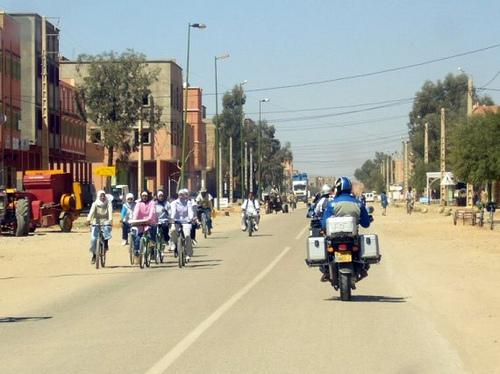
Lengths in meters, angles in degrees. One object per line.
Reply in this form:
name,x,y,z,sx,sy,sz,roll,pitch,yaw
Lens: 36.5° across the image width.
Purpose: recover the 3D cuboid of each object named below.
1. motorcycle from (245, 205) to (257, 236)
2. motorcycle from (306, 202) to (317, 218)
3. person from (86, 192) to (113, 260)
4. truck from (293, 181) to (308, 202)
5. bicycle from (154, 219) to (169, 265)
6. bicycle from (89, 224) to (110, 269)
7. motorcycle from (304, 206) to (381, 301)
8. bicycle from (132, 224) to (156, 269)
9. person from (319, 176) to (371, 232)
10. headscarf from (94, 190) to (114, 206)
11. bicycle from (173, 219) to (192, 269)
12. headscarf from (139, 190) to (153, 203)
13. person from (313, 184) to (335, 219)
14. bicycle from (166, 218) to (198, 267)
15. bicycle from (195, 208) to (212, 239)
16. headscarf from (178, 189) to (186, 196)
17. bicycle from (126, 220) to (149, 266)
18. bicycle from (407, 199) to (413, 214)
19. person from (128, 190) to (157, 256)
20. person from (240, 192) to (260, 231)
motorcycle,0.047,1.453,32.400,0.481,1.304,1.436,0,-1,-2
motorcycle,1.684,0.705,20.753,0.346,0.375,0.580,2,9,5
person,-4.060,0.966,20.872,0.699,1.744,0.929,7,15,24
truck,7.540,0.663,111.712,1.966,2.872,2.008,0,-1,-5
bicycle,-2.457,1.532,21.091,0.387,1.278,1.037,0,-1,-7
bicycle,-4.108,1.637,20.905,0.446,1.197,0.672,0,-1,-21
motorcycle,1.675,1.304,15.252,1.075,1.626,2.354,-1,-1,-4
bicycle,-2.921,1.447,20.739,0.689,1.236,1.876,3,13,-7
person,1.877,0.628,14.941,0.857,1.639,0.789,-2,8,-1
headscarf,-4.061,0.336,20.979,0.336,0.256,0.489,-1,8,-5
bicycle,-1.800,1.512,20.241,0.448,1.299,0.834,0,-1,-12
headscarf,-2.814,0.210,20.875,0.282,0.442,0.207,-2,-14,3
person,1.814,0.395,18.653,0.379,0.544,0.862,1,19,1
bicycle,-1.948,1.452,20.622,0.864,1.259,1.929,4,10,-11
bicycle,-2.029,1.465,32.171,0.624,1.017,1.542,0,-2,-1
headscarf,-1.788,0.161,19.998,0.193,0.144,0.386,0,-2,-6
bicycle,-3.249,1.539,20.962,0.581,0.892,1.310,-1,-1,1
bicycle,13.290,1.734,62.524,0.602,1.020,1.477,0,-2,3
person,-2.857,0.876,20.371,0.534,1.530,1.396,-1,14,0
person,0.024,0.880,32.226,0.727,1.050,1.463,0,-3,0
